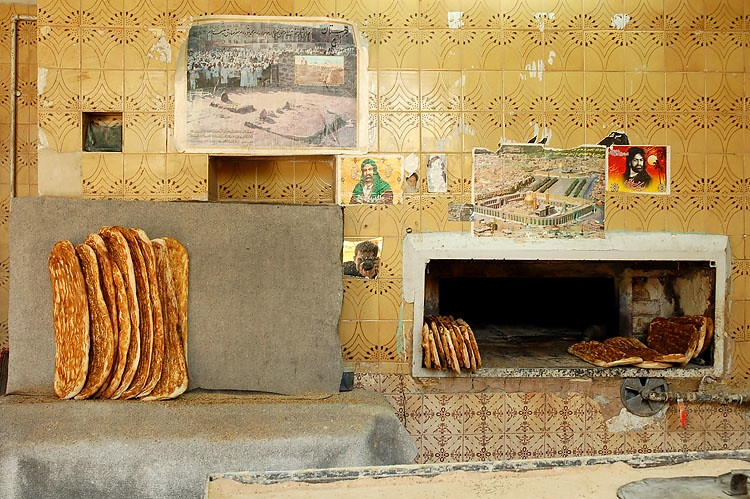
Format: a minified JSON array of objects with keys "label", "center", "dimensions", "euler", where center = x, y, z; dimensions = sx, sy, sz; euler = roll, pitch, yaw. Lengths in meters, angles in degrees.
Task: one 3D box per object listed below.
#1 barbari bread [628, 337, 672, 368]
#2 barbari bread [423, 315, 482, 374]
[{"label":"barbari bread","center":[2.040,0.784,11.172],"dimensions":[0.270,0.203,0.396],"euler":[0,-1,-19]},{"label":"barbari bread","center":[0.559,0.699,11.077],"dimensions":[0.433,0.191,0.408],"euler":[1,4,-6]}]
